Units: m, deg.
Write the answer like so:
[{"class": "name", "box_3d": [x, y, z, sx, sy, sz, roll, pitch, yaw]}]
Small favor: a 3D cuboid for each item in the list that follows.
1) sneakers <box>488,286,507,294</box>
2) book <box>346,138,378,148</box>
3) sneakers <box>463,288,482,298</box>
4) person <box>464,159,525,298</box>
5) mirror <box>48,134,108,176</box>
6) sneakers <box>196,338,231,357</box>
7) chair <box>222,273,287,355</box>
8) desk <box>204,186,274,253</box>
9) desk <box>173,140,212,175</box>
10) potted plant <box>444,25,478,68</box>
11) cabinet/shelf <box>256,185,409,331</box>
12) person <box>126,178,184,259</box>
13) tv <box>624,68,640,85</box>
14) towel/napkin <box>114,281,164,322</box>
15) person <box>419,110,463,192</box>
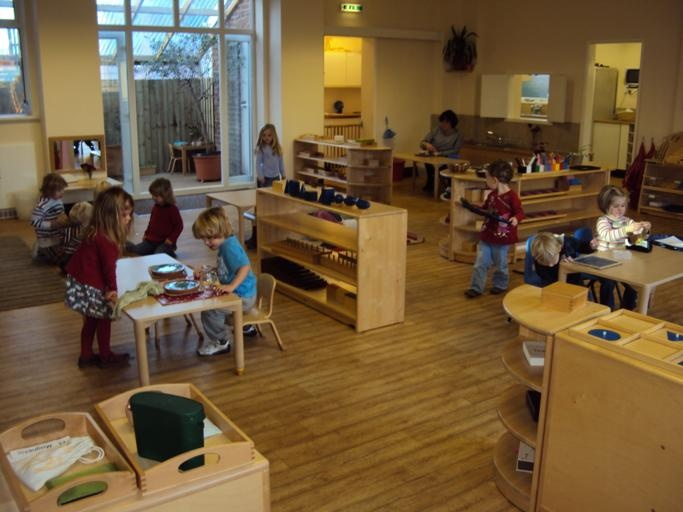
[{"class": "sneakers", "box_3d": [1.982, 0.409, 6.640, 0.212, 0.093, 0.077, -4, 14, -13]}, {"class": "book", "box_3d": [0.403, -2.202, 10.331, 0.601, 0.125, 0.352, -1, 17, -1]}, {"class": "sneakers", "box_3d": [1.640, 0.449, 6.582, 0.224, 0.098, 0.091, 6, 6, -20]}, {"class": "person", "box_3d": [1.869, -0.314, 6.408, 0.649, 1.625, 0.532, 0, 15, 5]}, {"class": "mirror", "box_3d": [-4.886, -1.862, 9.631, 1.037, 0.764, 0.038, -4, 11, -23]}, {"class": "sneakers", "box_3d": [-1.276, 0.892, 5.265, 0.347, 0.164, 0.129, -1, 11, -18]}, {"class": "chair", "box_3d": [-0.792, 0.526, 5.413, 0.648, 0.954, 0.611, -6, 17, -30]}, {"class": "desk", "box_3d": [-1.399, -0.648, 7.736, 0.954, 0.703, 1.380, -10, 24, -27]}, {"class": "desk", "box_3d": [-3.269, -2.118, 11.466, 0.683, 0.652, 0.686, -7, 19, -29]}, {"class": "potted plant", "box_3d": [3.082, -5.327, 13.532, 0.777, 1.120, 0.596, 14, 21, 42]}, {"class": "cabinet/shelf", "box_3d": [-0.154, 0.070, 6.032, 0.460, 0.864, 1.428, -10, 23, -30]}, {"class": "person", "box_3d": [-2.577, -0.541, 7.293, 0.631, 1.067, 0.611, 3, 4, 9]}, {"class": "tv", "box_3d": [7.197, -4.398, 13.052, 0.159, 0.413, 0.397, -8, 17, -24]}, {"class": "towel/napkin", "box_3d": [-1.736, 0.348, 4.560, 0.303, 0.242, 0.491, 11, 20, 36]}, {"class": "person", "box_3d": [2.277, -2.413, 12.081, 0.910, 1.799, 0.852, -17, 31, -34]}]
